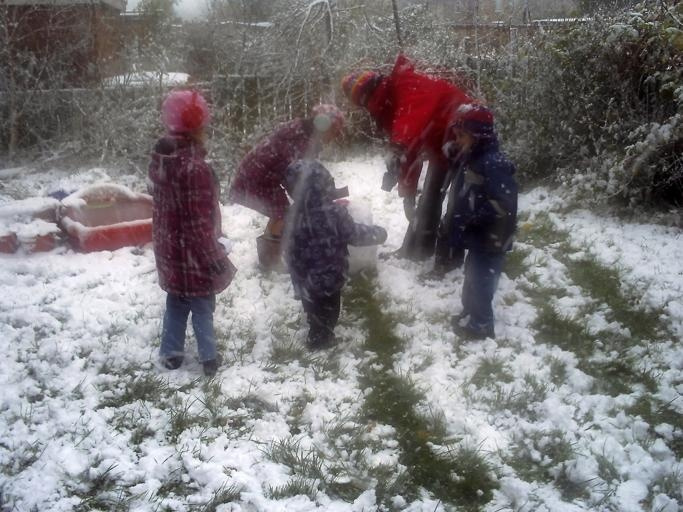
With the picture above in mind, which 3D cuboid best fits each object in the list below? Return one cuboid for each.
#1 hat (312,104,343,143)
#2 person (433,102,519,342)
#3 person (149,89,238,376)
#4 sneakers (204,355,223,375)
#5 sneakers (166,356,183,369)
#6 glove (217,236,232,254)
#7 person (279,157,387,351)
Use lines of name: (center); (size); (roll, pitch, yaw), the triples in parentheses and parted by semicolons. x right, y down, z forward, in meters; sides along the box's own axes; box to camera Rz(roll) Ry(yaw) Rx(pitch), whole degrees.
hat: (-0.122, -1.496, 8.178); (0.352, 0.416, 0.234); (-6, 7, 21)
person: (1.472, -0.324, 7.788); (0.706, 2.462, 0.436); (3, 14, 8)
person: (-1.555, -0.207, 7.407); (0.818, 2.812, 0.529); (0, 14, -1)
sneakers: (-1.358, 1.140, 7.578); (0.182, 0.291, 0.151); (2, -7, -12)
sneakers: (-1.758, 1.106, 7.596); (0.136, 0.118, 0.144); (2, -1, 7)
glove: (-1.435, -0.139, 8.952); (0.220, 0.176, 0.238); (1, 1, 3)
person: (-0.147, 0.002, 7.773); (0.877, 2.002, 0.345); (-1, 14, -7)
